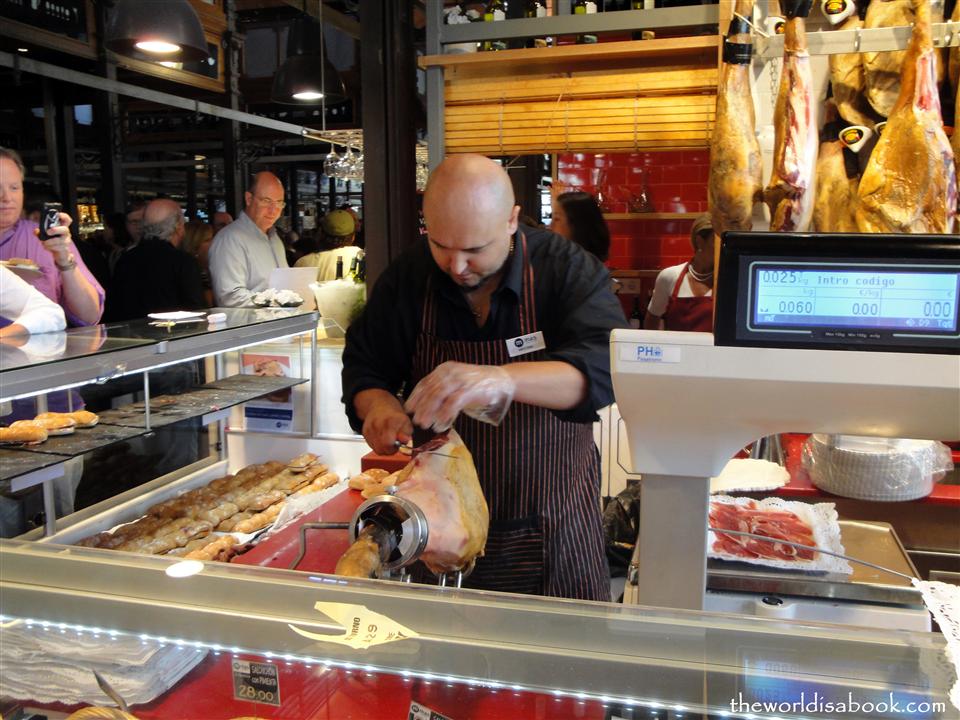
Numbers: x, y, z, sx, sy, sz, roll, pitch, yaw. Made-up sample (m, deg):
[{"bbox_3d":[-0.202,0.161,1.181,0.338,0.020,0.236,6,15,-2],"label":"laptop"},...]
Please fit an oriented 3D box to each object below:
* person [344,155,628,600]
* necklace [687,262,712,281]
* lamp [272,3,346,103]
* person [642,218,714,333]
[{"bbox_3d":[0.027,0.113,2.025,0.772,1.273,0.815,-5,13,-10],"label":"person"},{"bbox_3d":[1.287,-0.512,4.434,0.059,0.097,0.232,-7,13,-17],"label":"necklace"},{"bbox_3d":[-1.427,-2.482,6.220,0.597,0.540,0.546,1,26,-3],"label":"lamp"},{"bbox_3d":[1.180,-0.489,4.514,0.363,0.714,0.846,0,13,12],"label":"person"}]
